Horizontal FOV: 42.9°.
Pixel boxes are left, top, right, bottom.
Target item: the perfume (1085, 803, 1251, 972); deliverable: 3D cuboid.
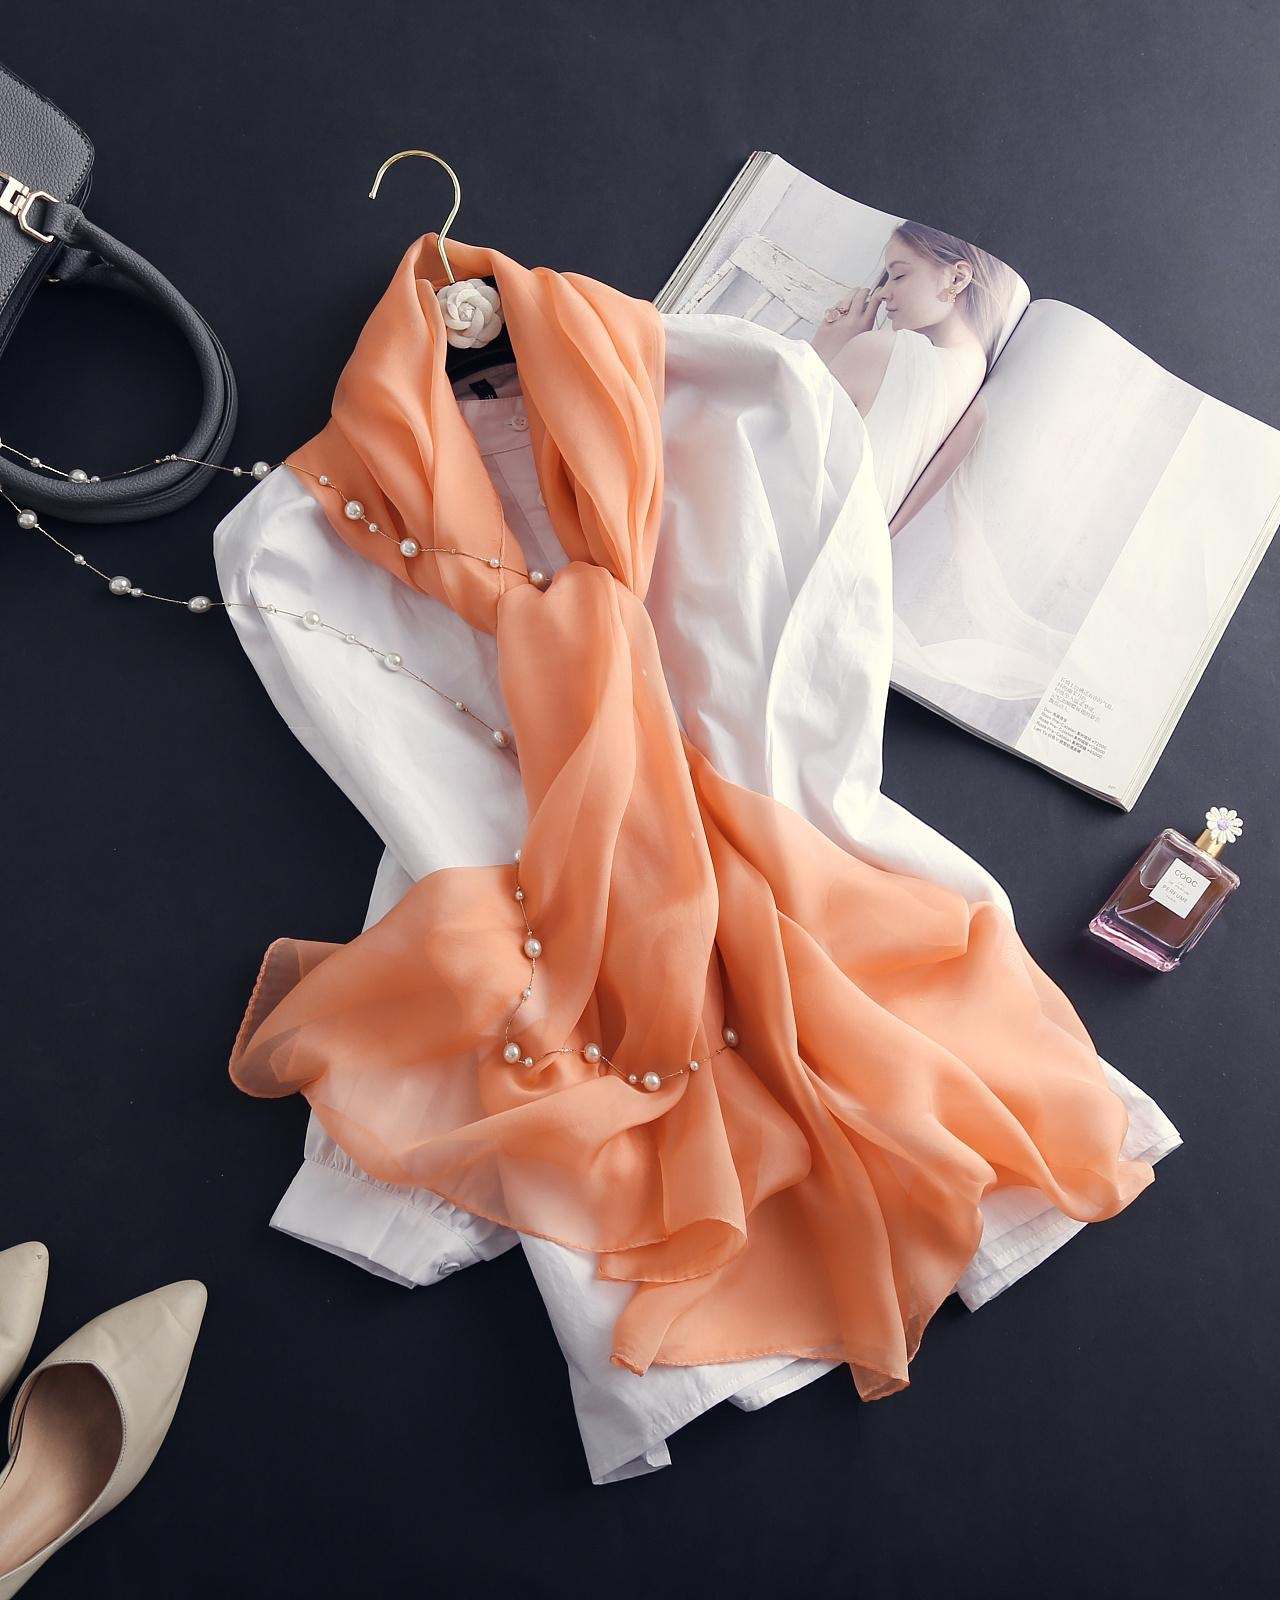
[{"bbox_3d":[0.424,0.074,1.339,0.085,0.055,0.149,36,92,9],"label":"perfume"}]
